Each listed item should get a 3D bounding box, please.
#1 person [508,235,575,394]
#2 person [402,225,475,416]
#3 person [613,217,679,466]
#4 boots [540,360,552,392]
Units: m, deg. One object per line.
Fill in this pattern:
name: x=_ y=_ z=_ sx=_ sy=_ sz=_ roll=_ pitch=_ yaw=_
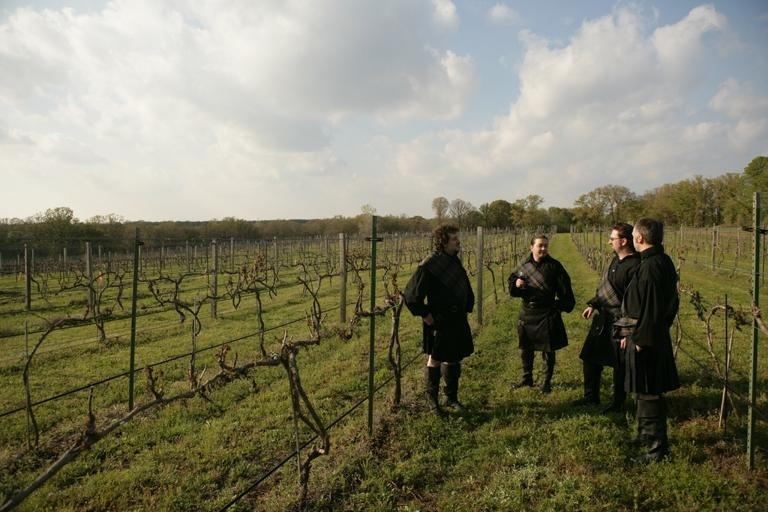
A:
person: x=2.918 y=1.076 z=9.660 sx=1.094 sy=2.232 sz=0.601 roll=-4 pitch=1 yaw=14
person: x=1.001 y=1.101 z=8.880 sx=1.140 sy=2.716 sz=0.520 roll=-4 pitch=1 yaw=-4
person: x=4.124 y=1.292 z=8.075 sx=0.869 sy=2.529 sz=0.540 roll=-3 pitch=1 yaw=25
boots: x=3.017 y=2.219 z=9.612 sx=0.233 sy=0.472 sz=0.347 roll=-4 pitch=2 yaw=14
